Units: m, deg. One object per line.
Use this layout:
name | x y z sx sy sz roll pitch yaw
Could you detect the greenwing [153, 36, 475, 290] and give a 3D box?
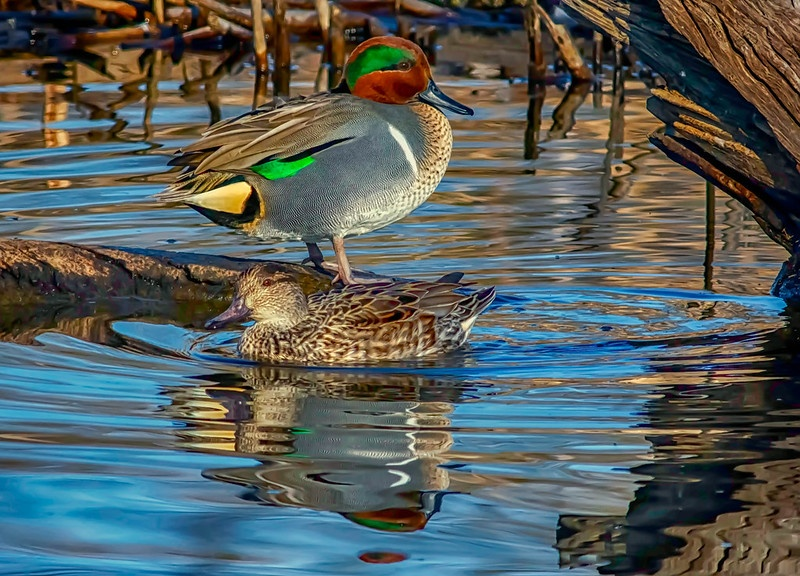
greenwing | -0.516 -0.906 6.274 1.641 1.600 0.594 6 -7 -2
